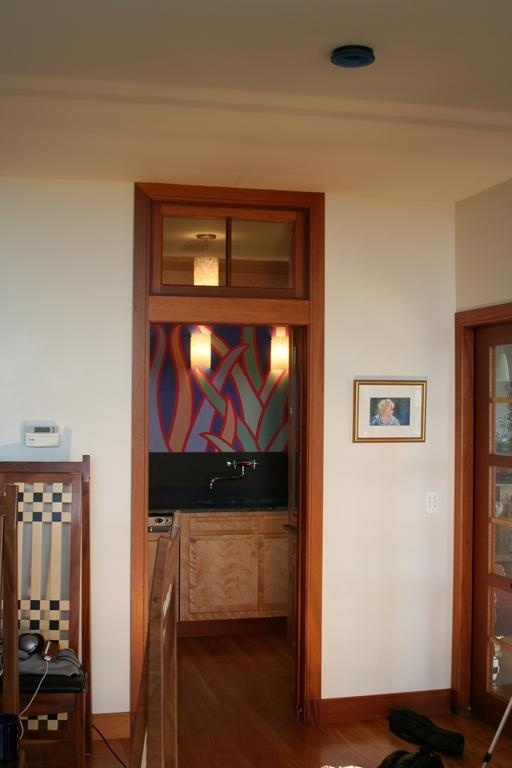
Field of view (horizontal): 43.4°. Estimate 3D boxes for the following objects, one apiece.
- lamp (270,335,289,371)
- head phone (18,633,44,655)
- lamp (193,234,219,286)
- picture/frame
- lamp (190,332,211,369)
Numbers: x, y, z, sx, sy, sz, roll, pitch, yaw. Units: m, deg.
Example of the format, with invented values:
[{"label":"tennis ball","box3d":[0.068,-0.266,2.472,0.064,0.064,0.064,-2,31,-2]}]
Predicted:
[{"label":"lamp","box3d":[0.190,-0.248,5.268,0.142,0.286,0.207,-1,-5,1]},{"label":"head phone","box3d":[-0.961,1.106,2.769,0.102,0.082,0.156,0,-5,-18]},{"label":"lamp","box3d":[-0.257,-0.620,3.268,0.145,0.263,0.145,-3,9,-38]},{"label":"picture/frame","box3d":[0.683,0.143,3.374,0.306,0.270,0.022,0,0,-16]},{"label":"lamp","box3d":[-0.443,-0.282,5.100,0.148,0.285,0.129,0,-5,-11]}]
